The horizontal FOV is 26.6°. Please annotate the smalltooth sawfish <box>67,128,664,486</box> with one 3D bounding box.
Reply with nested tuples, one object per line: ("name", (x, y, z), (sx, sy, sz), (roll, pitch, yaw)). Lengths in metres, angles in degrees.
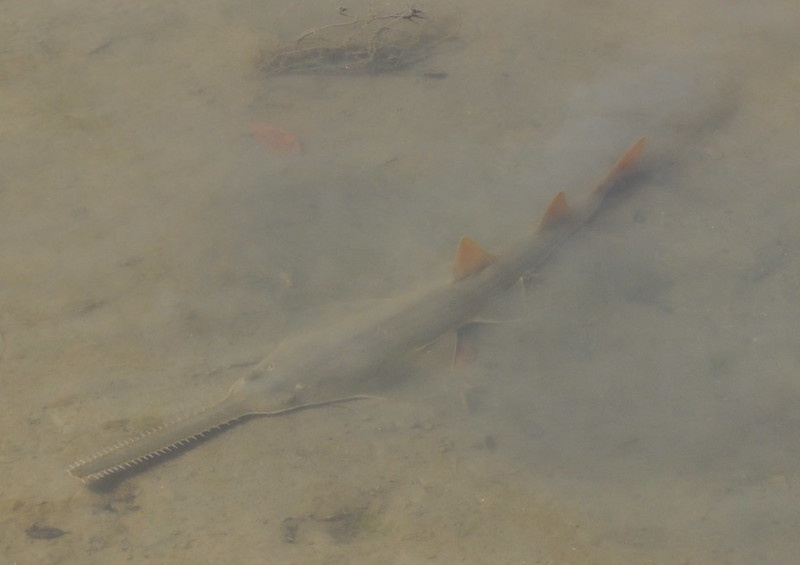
("smalltooth sawfish", (-0.205, 0.620, 27.656), (10.556, 2.200, 1.767), (-29, 63, -10))
